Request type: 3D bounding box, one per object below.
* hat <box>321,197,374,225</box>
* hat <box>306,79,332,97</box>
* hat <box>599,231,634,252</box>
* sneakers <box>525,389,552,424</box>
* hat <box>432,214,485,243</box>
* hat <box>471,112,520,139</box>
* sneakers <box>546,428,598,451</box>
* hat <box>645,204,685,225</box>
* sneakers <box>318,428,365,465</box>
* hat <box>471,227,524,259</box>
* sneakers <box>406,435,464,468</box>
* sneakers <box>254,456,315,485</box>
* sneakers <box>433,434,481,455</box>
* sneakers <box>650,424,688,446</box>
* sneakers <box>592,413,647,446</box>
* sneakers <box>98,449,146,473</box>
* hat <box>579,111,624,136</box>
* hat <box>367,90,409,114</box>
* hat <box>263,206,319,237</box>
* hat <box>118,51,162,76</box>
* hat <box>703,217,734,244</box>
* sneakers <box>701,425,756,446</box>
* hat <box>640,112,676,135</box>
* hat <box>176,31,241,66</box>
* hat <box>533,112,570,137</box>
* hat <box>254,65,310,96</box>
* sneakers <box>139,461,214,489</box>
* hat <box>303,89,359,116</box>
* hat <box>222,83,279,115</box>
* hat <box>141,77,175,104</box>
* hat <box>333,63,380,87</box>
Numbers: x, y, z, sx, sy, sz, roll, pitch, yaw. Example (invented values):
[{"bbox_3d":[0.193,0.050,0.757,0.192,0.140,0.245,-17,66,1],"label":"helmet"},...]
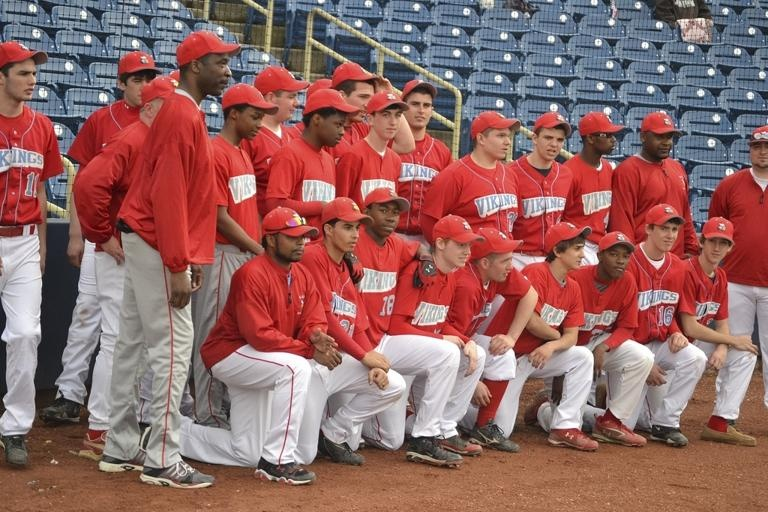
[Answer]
[{"bbox_3d":[-0.345,-0.393,9.570,0.348,0.186,0.232,-4,-4,20],"label":"hat"},{"bbox_3d":[-0.634,-1.698,10.752,0.227,0.126,0.326,-13,5,-9],"label":"hat"},{"bbox_3d":[2.276,-0.152,10.617,0.196,0.131,0.260,10,-22,-41],"label":"hat"},{"bbox_3d":[1.576,1.522,11.261,0.206,0.177,0.488,0,23,4],"label":"sneakers"},{"bbox_3d":[0.668,-0.252,10.103,0.363,0.206,0.246,-2,-1,23],"label":"hat"},{"bbox_3d":[1.122,-1.341,10.903,0.420,0.202,0.265,-13,5,16],"label":"hat"},{"bbox_3d":[1.818,1.759,10.463,0.502,0.240,0.180,4,12,9],"label":"sneakers"},{"bbox_3d":[2.832,-0.416,10.959,0.216,0.139,0.285,3,-2,-32],"label":"hat"},{"bbox_3d":[-0.385,1.749,9.701,0.516,0.215,0.180,23,0,0],"label":"sneakers"},{"bbox_3d":[1.071,-0.121,10.265,0.422,0.216,0.268,-5,12,13],"label":"hat"},{"bbox_3d":[0.432,1.767,9.683,0.572,0.286,0.210,7,-8,5],"label":"sneakers"},{"bbox_3d":[-0.812,1.800,9.167,0.515,0.240,0.191,7,2,4],"label":"sneakers"},{"bbox_3d":[0.687,1.743,9.990,0.449,0.193,0.167,17,-2,-6],"label":"sneakers"},{"bbox_3d":[2.827,1.796,10.830,0.384,0.168,0.160,5,7,39],"label":"sneakers"},{"bbox_3d":[2.278,1.724,10.697,0.663,0.294,0.232,10,-1,9],"label":"sneakers"},{"bbox_3d":[-2.193,1.718,9.113,0.422,0.187,0.163,-1,5,-17],"label":"sneakers"},{"bbox_3d":[2.319,-1.421,11.584,0.387,0.195,0.270,0,13,1],"label":"hat"},{"bbox_3d":[-0.001,-1.468,10.358,0.215,0.145,0.297,-2,0,-31],"label":"hat"},{"bbox_3d":[-0.805,-0.289,9.296,0.387,0.207,0.254,-5,2,10],"label":"hat"},{"bbox_3d":[-2.392,-1.849,10.387,0.324,0.174,0.246,6,11,42],"label":"hat"},{"bbox_3d":[3.438,-0.277,11.156,0.223,0.176,0.300,9,1,5],"label":"hat"},{"bbox_3d":[3.472,1.842,10.999,0.581,0.226,0.193,4,-4,11],"label":"sneakers"},{"bbox_3d":[2.911,-1.426,11.620,0.267,0.190,0.348,-2,5,-34],"label":"hat"},{"bbox_3d":[-1.458,-1.722,9.000,0.445,0.226,0.275,-11,17,-2],"label":"hat"},{"bbox_3d":[1.724,-1.400,11.258,0.252,0.196,0.345,7,-5,-15],"label":"hat"},{"bbox_3d":[-1.013,-1.711,10.590,0.422,0.213,0.267,-12,20,3],"label":"hat"},{"bbox_3d":[-1.677,1.804,8.952,0.629,0.280,0.228,4,-6,-7],"label":"sneakers"},{"bbox_3d":[-0.494,-1.438,10.021,0.395,0.185,0.250,3,11,-1],"label":"hat"},{"bbox_3d":[-1.216,-1.422,9.758,0.425,0.212,0.265,-3,9,1],"label":"hat"},{"bbox_3d":[-2.030,-1.504,9.743,0.366,0.196,0.256,-18,14,0],"label":"hat"},{"bbox_3d":[-0.316,-1.854,10.964,0.380,0.201,0.265,-1,5,1],"label":"hat"}]
